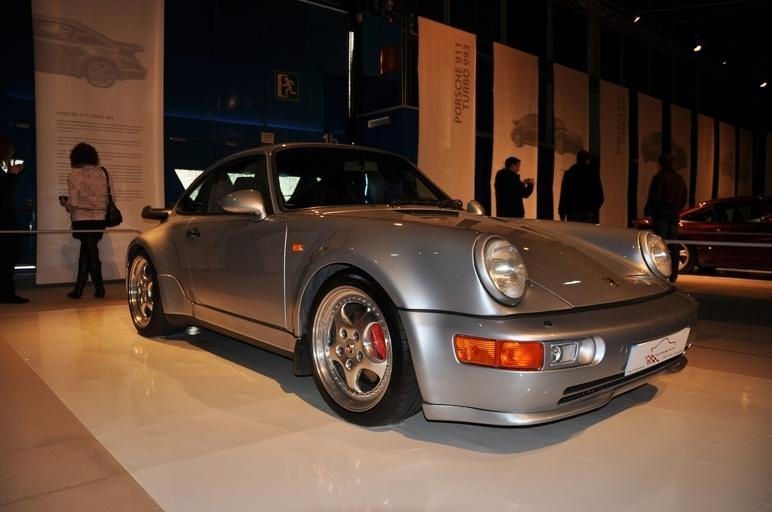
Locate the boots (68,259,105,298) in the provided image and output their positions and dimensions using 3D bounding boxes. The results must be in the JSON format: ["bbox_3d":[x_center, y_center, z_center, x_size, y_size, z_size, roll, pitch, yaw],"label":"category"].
[{"bbox_3d":[-3.886,0.262,6.547,0.447,0.568,0.489,6,6,42],"label":"boots"}]

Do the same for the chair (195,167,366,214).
[{"bbox_3d":[-0.744,-0.490,3.708,0.648,0.226,0.461,-1,2,30],"label":"chair"}]
